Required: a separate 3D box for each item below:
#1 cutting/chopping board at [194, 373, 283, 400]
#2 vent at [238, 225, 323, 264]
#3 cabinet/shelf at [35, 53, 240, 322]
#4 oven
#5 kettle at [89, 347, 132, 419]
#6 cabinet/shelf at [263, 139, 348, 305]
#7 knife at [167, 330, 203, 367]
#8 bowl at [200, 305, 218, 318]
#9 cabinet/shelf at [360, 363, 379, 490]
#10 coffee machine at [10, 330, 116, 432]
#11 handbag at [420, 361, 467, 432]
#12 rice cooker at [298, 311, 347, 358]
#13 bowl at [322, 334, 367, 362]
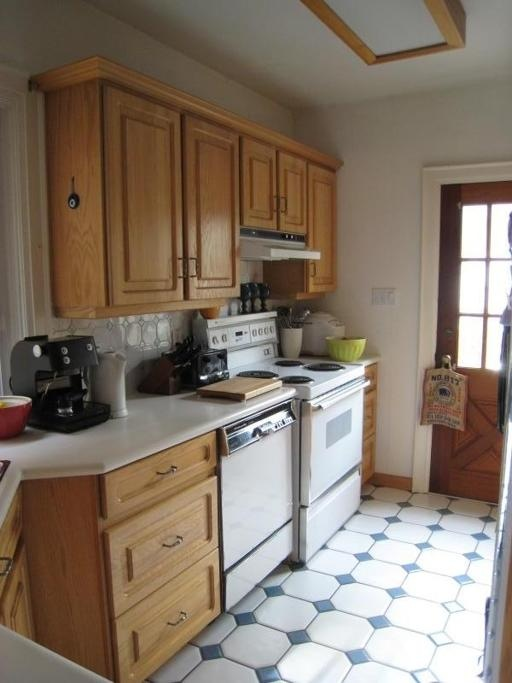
[{"bbox_3d":[-0.057,0.201,2.286,0.255,0.047,0.386,3,5,31],"label":"cutting/chopping board"},{"bbox_3d":[0.147,-0.519,2.807,0.179,0.178,0.729,2,5,26],"label":"vent"},{"bbox_3d":[-0.418,-0.543,2.082,0.367,0.875,0.869,2,5,32],"label":"cabinet/shelf"},{"bbox_3d":[0.379,0.618,2.634,0.397,0.793,0.467,5,7,21],"label":"oven"},{"bbox_3d":[-0.570,0.136,1.818,0.230,0.287,0.113,0,4,24],"label":"kettle"},{"bbox_3d":[0.326,-0.668,3.332,0.379,1.028,0.682,4,8,31],"label":"cabinet/shelf"},{"bbox_3d":[-0.315,0.037,2.359,0.098,0.043,0.177,16,53,0],"label":"knife"},{"bbox_3d":[-0.236,-0.154,2.662,0.067,0.050,0.063,-2,8,0],"label":"bowl"},{"bbox_3d":[0.740,0.504,3.365,0.162,0.736,0.225,5,10,21],"label":"cabinet/shelf"},{"bbox_3d":[-0.650,0.110,1.772,0.356,0.355,0.232,6,11,28],"label":"coffee machine"},{"bbox_3d":[1.177,0.355,3.253,0.255,0.413,0.150,10,13,34],"label":"handbag"},{"bbox_3d":[0.430,-0.057,3.492,0.205,0.267,0.278,13,14,42],"label":"rice cooker"},{"bbox_3d":[0.540,0.044,3.152,0.168,0.107,0.171,-2,1,0],"label":"bowl"}]
